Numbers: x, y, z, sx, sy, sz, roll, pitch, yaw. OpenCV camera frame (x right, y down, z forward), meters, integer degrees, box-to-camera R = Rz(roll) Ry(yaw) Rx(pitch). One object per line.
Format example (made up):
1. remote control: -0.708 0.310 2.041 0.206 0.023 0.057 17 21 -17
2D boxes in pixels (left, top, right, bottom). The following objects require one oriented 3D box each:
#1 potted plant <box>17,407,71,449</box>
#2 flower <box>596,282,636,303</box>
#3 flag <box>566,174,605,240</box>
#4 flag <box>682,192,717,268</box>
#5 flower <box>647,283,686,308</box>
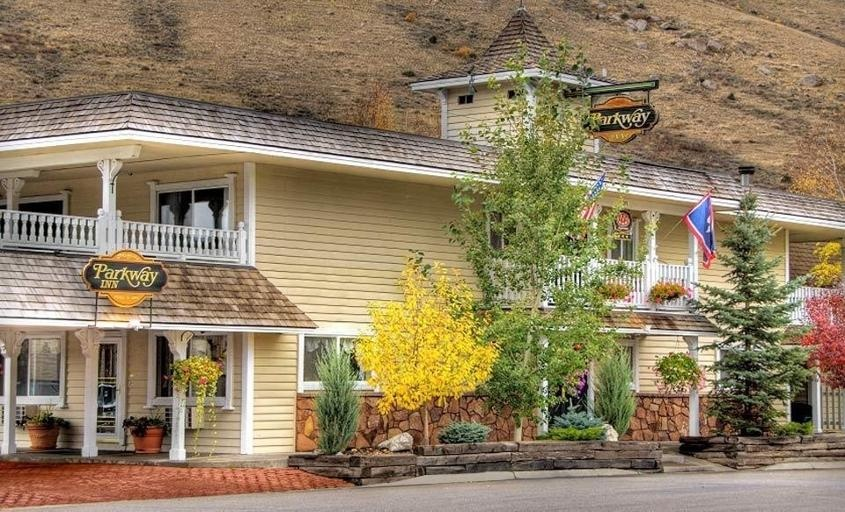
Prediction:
1. potted plant: -14.592 6.788 56.775 1.809 1.313 1.674 -5 -8 16
2. flower: 7.573 1.441 57.997 1.134 0.622 1.026 6 -9 -33
3. flag: 6.046 -1.904 55.526 1.297 2.742 1.387 1 1 33
4. flag: 11.329 -1.022 59.292 1.214 3.070 1.268 1 -1 -26
5. flower: 9.844 1.611 59.539 1.207 0.646 1.193 -2 1 -39
